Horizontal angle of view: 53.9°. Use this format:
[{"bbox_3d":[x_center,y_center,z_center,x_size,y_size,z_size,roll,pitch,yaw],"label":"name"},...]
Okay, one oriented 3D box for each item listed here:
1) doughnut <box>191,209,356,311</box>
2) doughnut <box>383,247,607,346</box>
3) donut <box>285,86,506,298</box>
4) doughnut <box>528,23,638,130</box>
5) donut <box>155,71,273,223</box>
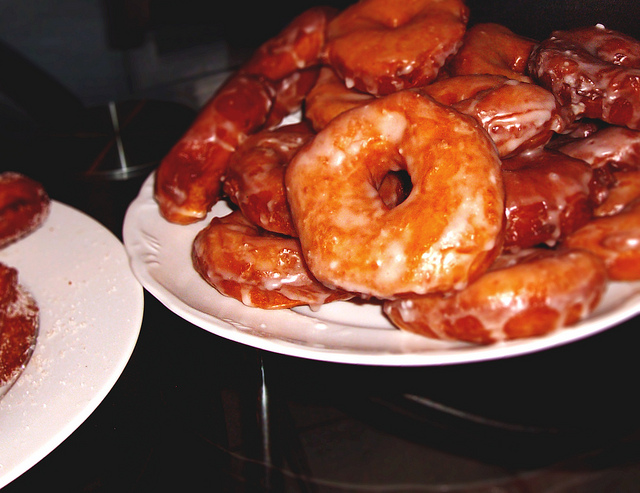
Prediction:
[{"bbox_3d":[-0.116,0.040,1.267,0.237,0.078,0.207,11,25,-21],"label":"doughnut"},{"bbox_3d":[0.312,0.097,1.123,0.232,0.231,0.076,-11,97,-36],"label":"doughnut"},{"bbox_3d":[0.130,-0.094,1.114,0.368,0.165,0.370,-10,65,-3],"label":"donut"},{"bbox_3d":[0.554,-0.358,1.341,0.232,0.077,0.230,-7,52,6],"label":"doughnut"},{"bbox_3d":[-0.252,-0.212,1.478,0.172,0.106,0.384,37,94,40],"label":"donut"}]
